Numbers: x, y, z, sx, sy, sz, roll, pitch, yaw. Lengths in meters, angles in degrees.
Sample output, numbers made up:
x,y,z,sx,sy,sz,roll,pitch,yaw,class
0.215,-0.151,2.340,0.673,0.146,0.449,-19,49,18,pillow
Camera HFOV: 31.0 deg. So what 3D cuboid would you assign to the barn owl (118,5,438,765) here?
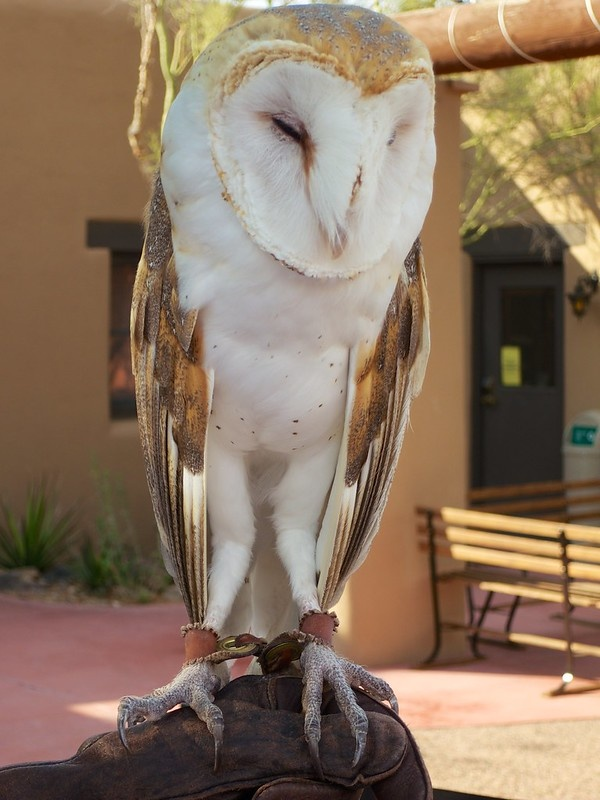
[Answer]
x,y,z,sx,sy,sz,roll,pitch,yaw,class
-0.033,-0.046,1.989,0.556,1.264,0.496,0,0,3,barn owl
